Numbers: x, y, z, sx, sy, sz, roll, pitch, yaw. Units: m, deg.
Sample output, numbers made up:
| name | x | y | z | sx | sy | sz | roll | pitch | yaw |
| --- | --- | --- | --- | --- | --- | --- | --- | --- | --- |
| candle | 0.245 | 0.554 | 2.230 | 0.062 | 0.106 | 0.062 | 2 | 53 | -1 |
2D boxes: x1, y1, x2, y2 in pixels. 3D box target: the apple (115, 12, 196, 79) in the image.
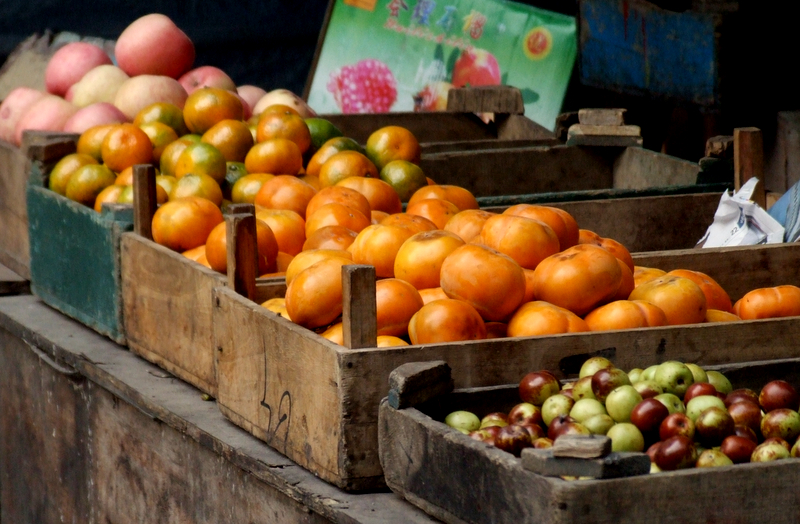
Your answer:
| name | x | y | z | sx | sy | sz | roll | pitch | yaw |
| --- | --- | --- | --- | --- | --- | --- | --- | --- | --- |
| apple | -1.263 | -1.100 | 6.171 | 0.318 | 0.363 | 0.336 | -16 | 5 | 36 |

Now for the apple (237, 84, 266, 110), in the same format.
| name | x | y | z | sx | sy | sz | roll | pitch | yaw |
| --- | --- | --- | --- | --- | --- | --- | --- | --- | --- |
| apple | -0.800 | -0.880 | 6.357 | 0.132 | 0.173 | 0.134 | -6 | 13 | -29 |

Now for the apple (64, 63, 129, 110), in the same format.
| name | x | y | z | sx | sy | sz | roll | pitch | yaw |
| --- | --- | --- | --- | --- | --- | --- | --- | --- | --- |
| apple | -1.541 | -0.930 | 6.020 | 0.276 | 0.236 | 0.222 | -31 | 24 | -20 |

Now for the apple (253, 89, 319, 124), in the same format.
| name | x | y | z | sx | sy | sz | roll | pitch | yaw |
| --- | --- | --- | --- | --- | --- | --- | --- | --- | --- |
| apple | -0.605 | -0.826 | 6.084 | 0.213 | 0.237 | 0.211 | -11 | 5 | -24 |

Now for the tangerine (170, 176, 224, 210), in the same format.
| name | x | y | z | sx | sy | sz | roll | pitch | yaw |
| --- | --- | --- | --- | --- | --- | --- | --- | --- | --- |
| tangerine | -0.863 | -0.321 | 5.008 | 0.139 | 0.146 | 0.144 | 8 | 38 | 44 |

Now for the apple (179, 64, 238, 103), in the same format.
| name | x | y | z | sx | sy | sz | roll | pitch | yaw |
| --- | --- | --- | --- | --- | --- | --- | --- | --- | --- |
| apple | -0.985 | -0.944 | 6.097 | 0.210 | 0.211 | 0.207 | -37 | -17 | -23 |

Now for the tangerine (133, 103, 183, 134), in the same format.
| name | x | y | z | sx | sy | sz | roll | pitch | yaw |
| --- | --- | --- | --- | --- | --- | --- | --- | --- | --- |
| tangerine | -1.140 | -0.699 | 5.623 | 0.156 | 0.172 | 0.149 | -4 | 3 | -9 |

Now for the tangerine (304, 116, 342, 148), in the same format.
| name | x | y | z | sx | sy | sz | roll | pitch | yaw |
| --- | --- | --- | --- | --- | --- | --- | --- | --- | --- |
| tangerine | -0.374 | -0.626 | 5.669 | 0.168 | 0.116 | 0.110 | 17 | 12 | 17 |

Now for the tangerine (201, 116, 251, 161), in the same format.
| name | x | y | z | sx | sy | sz | roll | pitch | yaw |
| --- | --- | --- | --- | --- | --- | --- | --- | --- | --- |
| tangerine | -0.779 | -0.555 | 5.444 | 0.182 | 0.207 | 0.199 | -6 | -2 | 12 |

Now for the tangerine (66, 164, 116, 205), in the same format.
| name | x | y | z | sx | sy | sz | roll | pitch | yaw |
| --- | --- | --- | --- | --- | --- | --- | --- | --- | --- |
| tangerine | -1.394 | -0.363 | 5.351 | 0.176 | 0.185 | 0.169 | -7 | -27 | -47 |

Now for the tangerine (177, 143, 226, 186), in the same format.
| name | x | y | z | sx | sy | sz | roll | pitch | yaw |
| --- | --- | --- | --- | --- | --- | --- | --- | --- | --- |
| tangerine | -0.871 | -0.407 | 5.194 | 0.167 | 0.172 | 0.179 | 12 | 35 | -27 |

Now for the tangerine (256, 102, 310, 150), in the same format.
| name | x | y | z | sx | sy | sz | roll | pitch | yaw |
| --- | --- | --- | --- | --- | --- | --- | --- | --- | --- |
| tangerine | -0.543 | -0.651 | 5.462 | 0.192 | 0.216 | 0.194 | -8 | 24 | -23 |

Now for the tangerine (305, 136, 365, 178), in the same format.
| name | x | y | z | sx | sy | sz | roll | pitch | yaw |
| --- | --- | --- | --- | --- | --- | --- | --- | --- | --- |
| tangerine | -0.307 | -0.477 | 5.468 | 0.225 | 0.127 | 0.167 | -42 | 18 | -3 |

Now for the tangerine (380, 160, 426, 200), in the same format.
| name | x | y | z | sx | sy | sz | roll | pitch | yaw |
| --- | --- | --- | --- | --- | --- | --- | --- | --- | --- |
| tangerine | 0.016 | -0.373 | 5.425 | 0.160 | 0.179 | 0.167 | -1 | 3 | -3 |

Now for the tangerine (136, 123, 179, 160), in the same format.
| name | x | y | z | sx | sy | sz | roll | pitch | yaw |
| --- | --- | --- | --- | --- | --- | --- | --- | --- | --- |
| tangerine | -1.109 | -0.574 | 5.491 | 0.146 | 0.171 | 0.184 | 12 | -2 | -3 |

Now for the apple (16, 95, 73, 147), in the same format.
| name | x | y | z | sx | sy | sz | roll | pitch | yaw |
| --- | --- | --- | --- | --- | --- | --- | --- | --- | --- |
| apple | -1.798 | -0.718 | 6.027 | 0.260 | 0.245 | 0.300 | -4 | 12 | -33 |

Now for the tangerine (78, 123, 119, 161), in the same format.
| name | x | y | z | sx | sy | sz | roll | pitch | yaw |
| --- | --- | --- | --- | --- | --- | --- | --- | --- | --- |
| tangerine | -1.397 | -0.564 | 5.522 | 0.162 | 0.098 | 0.158 | -21 | -7 | 40 |
